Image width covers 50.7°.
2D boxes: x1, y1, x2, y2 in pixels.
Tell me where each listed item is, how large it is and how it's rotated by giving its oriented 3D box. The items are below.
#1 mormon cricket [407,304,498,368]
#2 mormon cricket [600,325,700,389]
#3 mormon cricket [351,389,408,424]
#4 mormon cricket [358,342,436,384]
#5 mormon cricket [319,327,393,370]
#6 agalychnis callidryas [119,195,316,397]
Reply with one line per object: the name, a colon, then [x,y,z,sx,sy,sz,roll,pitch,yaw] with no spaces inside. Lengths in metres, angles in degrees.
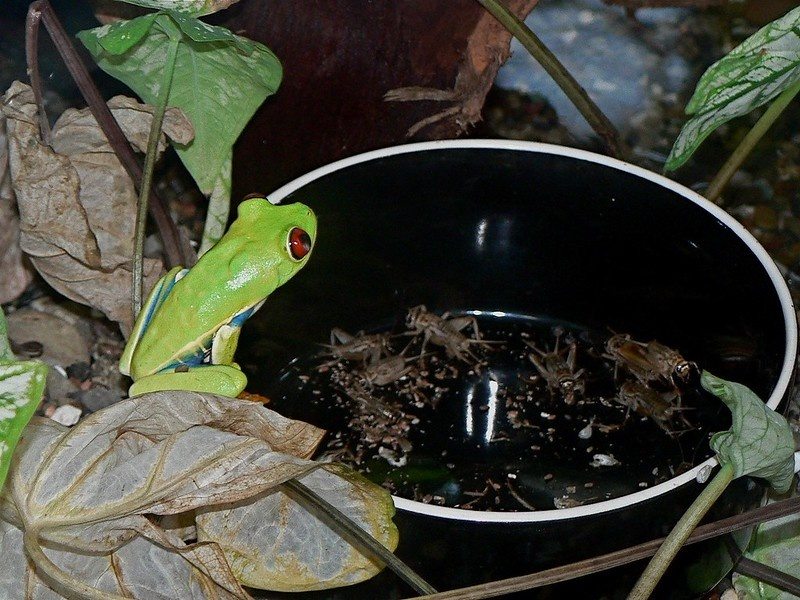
mormon cricket: [0.133,0.087,2.183,0.199,0.058,0.142,26,57,2]
mormon cricket: [0.615,0.140,2.072,0.167,0.122,0.160,-15,26,-28]
mormon cricket: [-0.051,0.250,2.063,0.173,0.051,0.047,22,102,15]
mormon cricket: [-0.021,0.170,2.098,0.148,0.033,0.053,-16,75,-17]
mormon cricket: [-0.109,0.110,2.116,0.135,0.038,0.087,2,52,-10]
agalychnis callidryas: [-0.373,-0.002,1.691,0.285,0.250,0.477,25,63,16]
